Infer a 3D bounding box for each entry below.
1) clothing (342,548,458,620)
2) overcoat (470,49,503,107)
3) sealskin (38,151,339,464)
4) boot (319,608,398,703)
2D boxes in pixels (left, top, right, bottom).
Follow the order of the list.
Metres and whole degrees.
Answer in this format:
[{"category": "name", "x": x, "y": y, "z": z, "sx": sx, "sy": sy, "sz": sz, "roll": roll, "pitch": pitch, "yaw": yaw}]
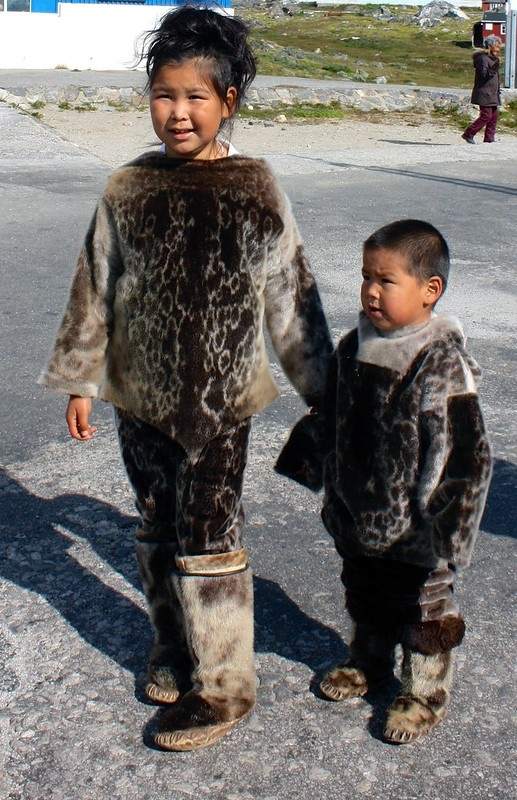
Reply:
[{"category": "clothing", "x": 0.327, "y": 0.413, "z": 1.835, "sx": 0.222, "sy": 0.133, "sz": 0.158, "roll": 8, "pitch": 12, "yaw": 39}, {"category": "overcoat", "x": 4.300, "y": -6.078, "z": 14.795, "sx": 0.532, "sy": 1.049, "sz": 0.451, "roll": 1, "pitch": 15, "yaw": 6}, {"category": "sealskin", "x": -0.151, "y": -0.240, "z": 1.793, "sx": 0.705, "sy": 0.579, "sz": 0.348, "roll": -1, "pitch": 15, "yaw": -9}, {"category": "boot", "x": 0.254, "y": 0.618, "z": 1.930, "sx": 0.218, "sy": 0.211, "sz": 0.099, "roll": -10, "pitch": 22, "yaw": -41}]
